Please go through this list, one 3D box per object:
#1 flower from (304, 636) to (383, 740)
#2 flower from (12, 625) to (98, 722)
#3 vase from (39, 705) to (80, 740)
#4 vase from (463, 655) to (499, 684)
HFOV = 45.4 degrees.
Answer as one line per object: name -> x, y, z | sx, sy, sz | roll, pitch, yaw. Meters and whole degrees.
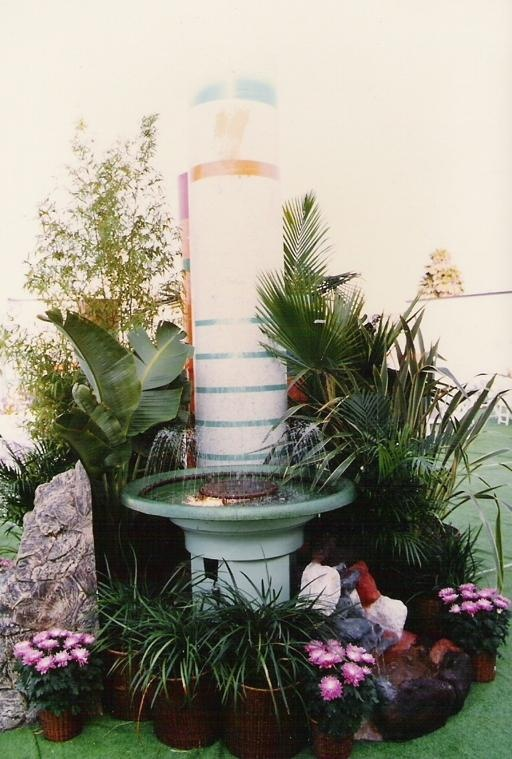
flower -> 0.303, 1.107, 2.191 | 0.252, 0.316, 0.273 | -1, -1, 10
flower -> -0.821, 1.128, 2.319 | 0.270, 0.278, 0.277 | -27, -17, 37
vase -> -0.738, 1.300, 2.300 | 0.141, 0.106, 0.153 | 1, -22, -11
vase -> 0.972, 1.249, 2.659 | 0.130, 0.125, 0.129 | -3, -11, 12
